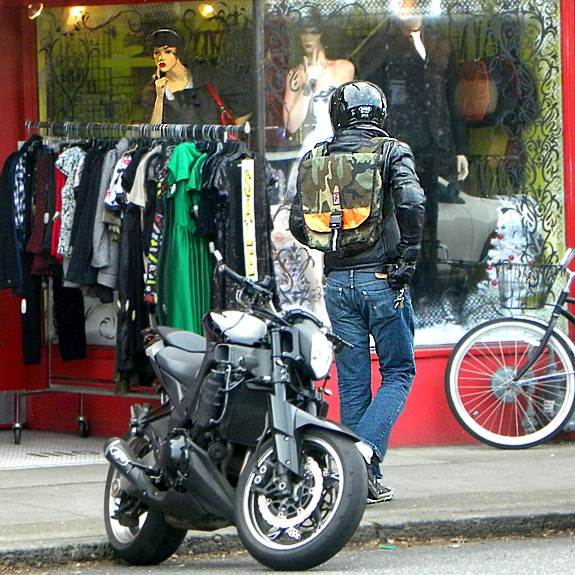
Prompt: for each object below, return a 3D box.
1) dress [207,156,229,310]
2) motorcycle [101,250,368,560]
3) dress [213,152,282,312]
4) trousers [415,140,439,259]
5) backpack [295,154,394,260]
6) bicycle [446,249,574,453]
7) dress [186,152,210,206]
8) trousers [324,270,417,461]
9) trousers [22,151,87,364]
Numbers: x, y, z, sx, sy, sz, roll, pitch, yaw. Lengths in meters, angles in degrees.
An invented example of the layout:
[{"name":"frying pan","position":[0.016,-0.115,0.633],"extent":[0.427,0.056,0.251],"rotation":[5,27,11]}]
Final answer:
[{"name":"dress","position":[-0.441,-0.358,5.683],"extent":[0.124,0.985,0.218],"rotation":[0,4,-3]},{"name":"motorcycle","position":[-0.281,0.630,4.026],"extent":[0.620,1.222,1.912],"rotation":[21,-21,-30]},{"name":"dress","position":[-0.250,-0.441,5.718],"extent":[0.426,1.051,0.106],"rotation":[-3,-32,-1]},{"name":"trousers","position":[1.122,-0.719,6.823],"extent":[0.121,0.912,0.143],"rotation":[3,-10,-20]},{"name":"backpack","position":[0.289,-0.448,4.591],"extent":[0.430,0.576,0.300],"rotation":[-1,0,17]},{"name":"bicycle","position":[1.720,0.432,6.662],"extent":[1.080,1.460,0.742],"rotation":[0,4,-3]},{"name":"dress","position":[-0.567,-0.699,5.677],"extent":[0.154,0.326,0.097],"rotation":[-2,4,-20]},{"name":"trousers","position":[0.437,0.393,4.636],"extent":[0.403,1.148,0.389],"rotation":[5,20,25]},{"name":"trousers","position":[-1.854,-0.239,6.878],"extent":[0.280,1.639,0.632],"rotation":[2,5,27]}]
